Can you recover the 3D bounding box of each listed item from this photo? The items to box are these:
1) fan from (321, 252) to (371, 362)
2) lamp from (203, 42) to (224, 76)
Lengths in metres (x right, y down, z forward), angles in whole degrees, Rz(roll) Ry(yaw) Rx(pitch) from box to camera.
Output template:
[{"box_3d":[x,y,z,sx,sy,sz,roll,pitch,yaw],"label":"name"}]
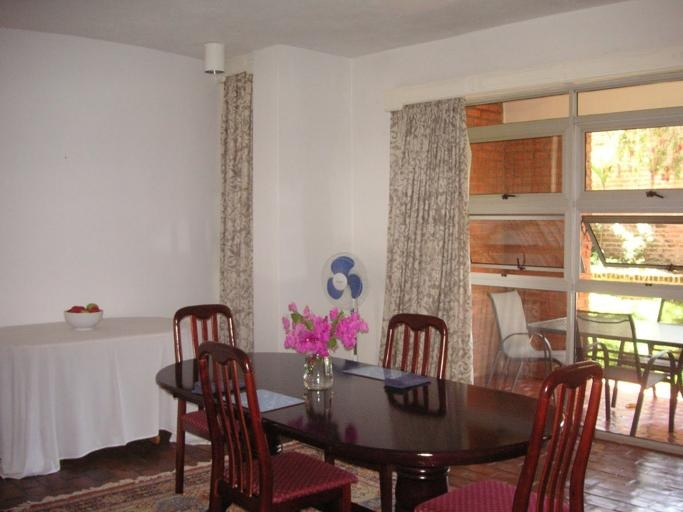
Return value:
[{"box_3d":[0.046,0.456,4.322,0.422,0.979,0.355,4,13,9],"label":"fan"},{"box_3d":[-1.202,-1.838,4.956,0.223,0.246,0.191,0,5,1],"label":"lamp"}]
